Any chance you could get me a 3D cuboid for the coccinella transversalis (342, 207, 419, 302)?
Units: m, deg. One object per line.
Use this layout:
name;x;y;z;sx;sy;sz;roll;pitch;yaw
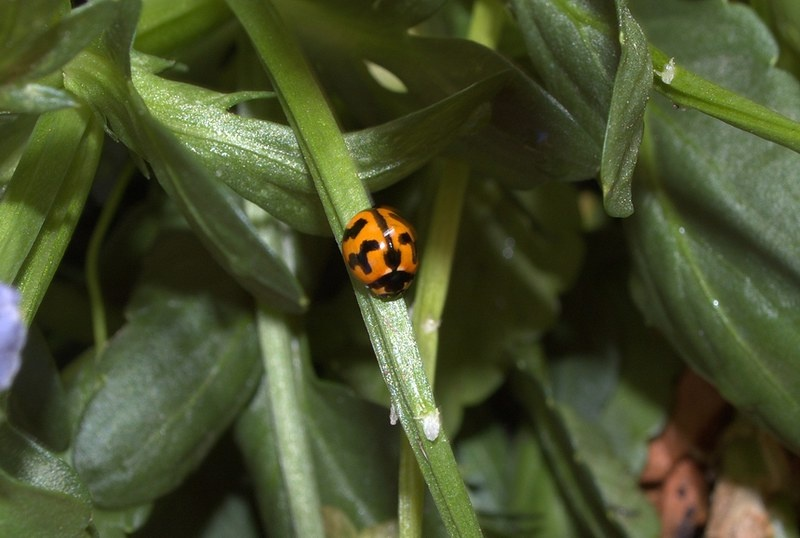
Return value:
coccinella transversalis;-0.011;-0.016;0.588;0.062;0.019;0.072;-17;68;-21
